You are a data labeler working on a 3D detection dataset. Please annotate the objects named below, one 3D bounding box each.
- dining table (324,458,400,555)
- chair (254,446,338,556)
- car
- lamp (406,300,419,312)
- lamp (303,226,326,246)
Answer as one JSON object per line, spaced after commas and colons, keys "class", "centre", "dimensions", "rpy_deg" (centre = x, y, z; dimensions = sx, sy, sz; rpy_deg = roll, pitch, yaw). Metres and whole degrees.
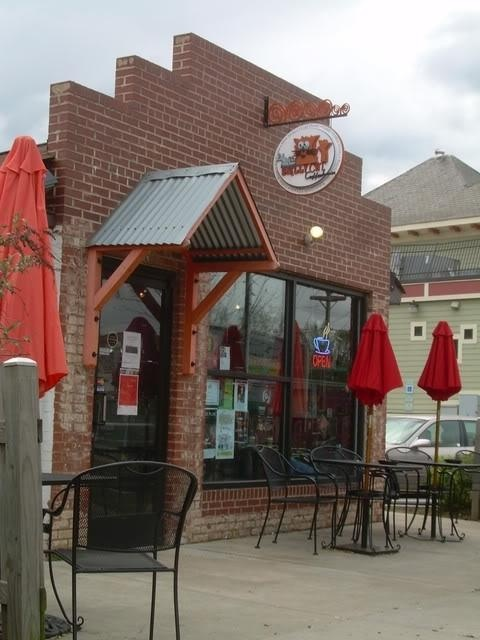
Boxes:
{"class": "dining table", "centre": [1.301, 2.061, 9.281], "dimensions": [0.983, 1.052, 1.028], "rpy_deg": [6, -9, -31]}
{"class": "chair", "centre": [0.618, 1.889, 9.156], "dimensions": [0.873, 0.994, 2.499], "rpy_deg": [1, -8, 6]}
{"class": "car", "centre": [3.387, 2.323, 14.773], "dimensions": [2.173, 1.175, 1.377], "rpy_deg": [6, -8, -19]}
{"class": "lamp", "centre": [5.920, -0.468, 28.994], "dimensions": [0.371, 0.368, 0.289], "rpy_deg": [-4, -9, 36]}
{"class": "lamp", "centre": [0.852, -0.998, 9.912], "dimensions": [0.135, 0.116, 0.208], "rpy_deg": [40, -17, 36]}
